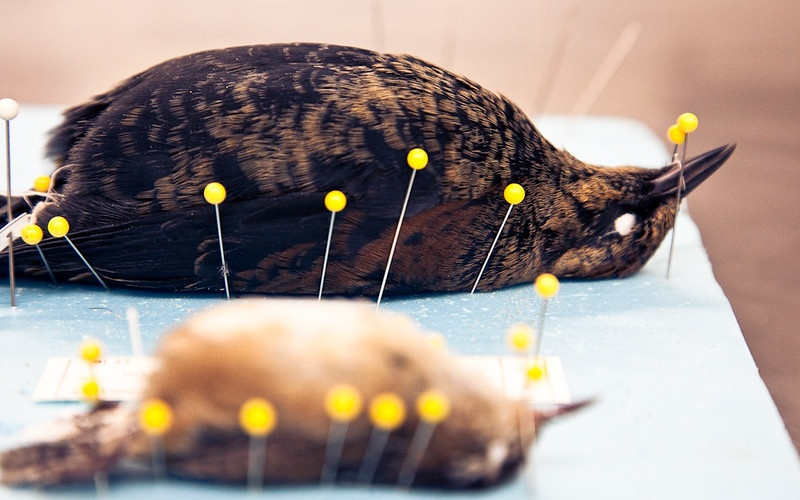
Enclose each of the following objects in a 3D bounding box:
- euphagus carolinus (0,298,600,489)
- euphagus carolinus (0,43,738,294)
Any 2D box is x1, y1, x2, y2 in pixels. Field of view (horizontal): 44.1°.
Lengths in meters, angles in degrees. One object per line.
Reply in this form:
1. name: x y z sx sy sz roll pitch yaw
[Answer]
1. euphagus carolinus: -0.045 0.307 2.137 1.479 0.381 0.317 4 45 -9
2. euphagus carolinus: -0.286 -0.176 2.463 2.016 0.424 0.518 3 10 -4
